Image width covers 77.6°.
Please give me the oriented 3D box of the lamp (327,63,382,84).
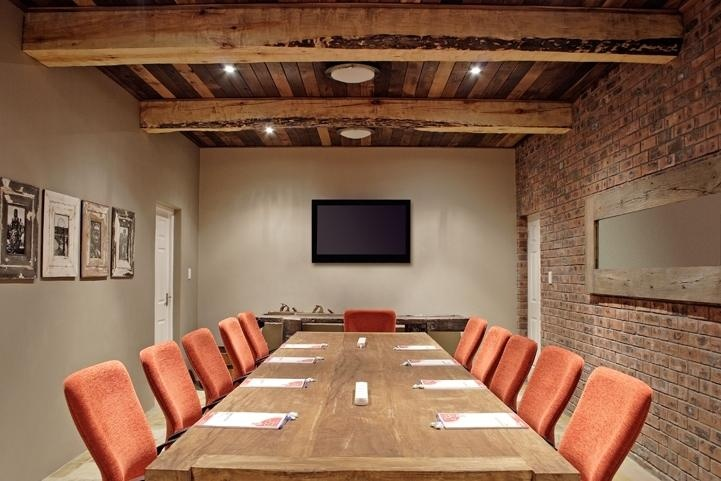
[{"bbox_3d":[-0.081,-1.643,4.366,0.402,0.105,0.422,-2,3,-42],"label":"lamp"}]
